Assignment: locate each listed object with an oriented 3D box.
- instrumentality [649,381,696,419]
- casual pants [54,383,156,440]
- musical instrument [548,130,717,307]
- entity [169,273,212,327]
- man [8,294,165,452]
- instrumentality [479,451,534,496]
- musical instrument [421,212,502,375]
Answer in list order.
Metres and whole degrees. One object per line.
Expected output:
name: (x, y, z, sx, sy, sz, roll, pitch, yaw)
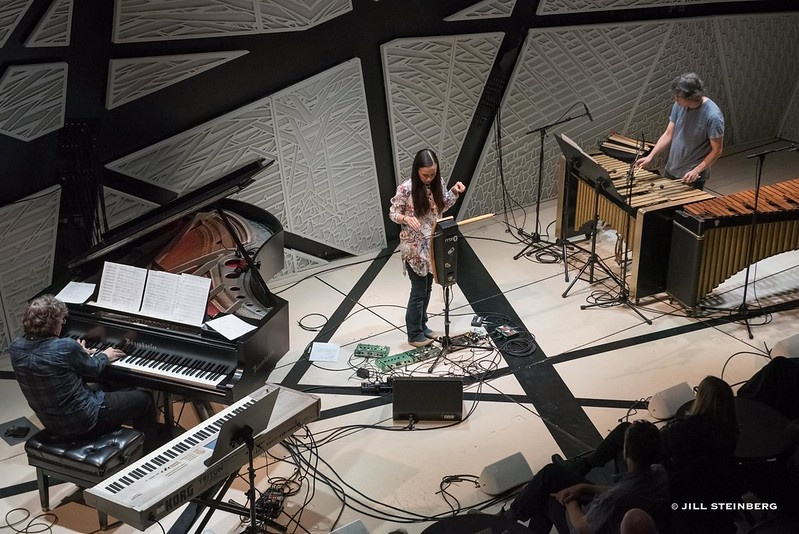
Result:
instrumentality: (2.397, 1.165, 5.490, 0.386, 0.269, 0.309, -17, 17, -15)
casual pants: (-2.345, 1.223, 5.216, 0.554, 0.127, 0.526, 17, 22, 30)
musical instrument: (2.586, -0.477, 6.813, 0.959, 1.234, 1.749, -10, 28, -17)
entity: (-1.748, 0.276, 5.174, 0.318, 0.400, 0.229, 4, -24, 0)
man: (-2.713, 1.091, 5.391, 0.710, 1.683, 1.074, 1, 16, 20)
instrumentality: (0.859, 1.724, 5.119, 0.406, 0.273, 0.334, -10, 3, -35)
musical instrument: (0.651, 0.356, 6.570, 0.834, 1.561, 1.112, -1, 32, 7)
